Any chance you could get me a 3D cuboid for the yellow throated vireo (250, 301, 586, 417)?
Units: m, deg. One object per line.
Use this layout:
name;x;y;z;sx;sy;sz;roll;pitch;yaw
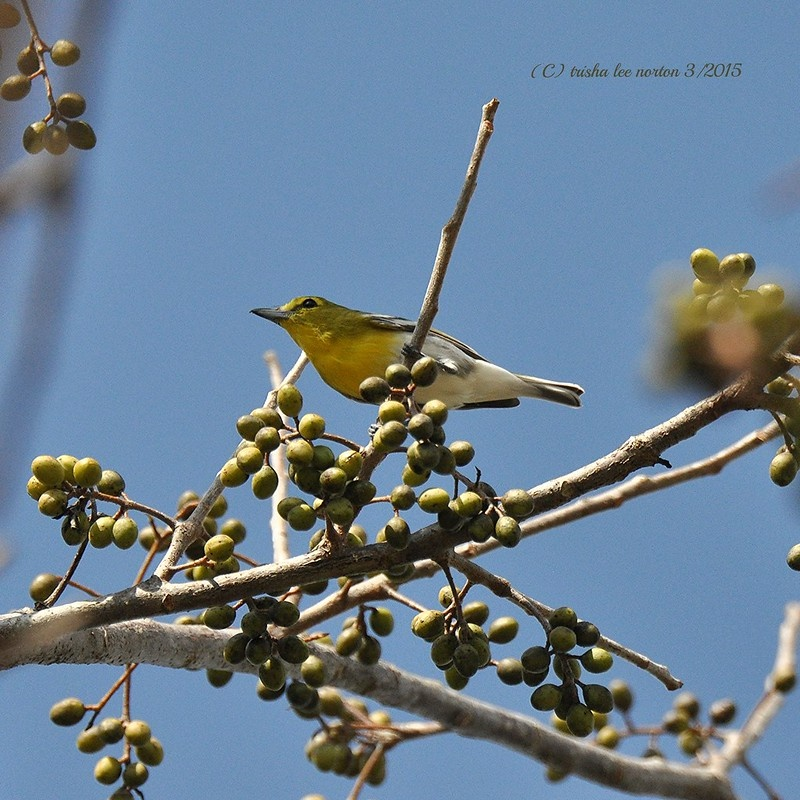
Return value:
yellow throated vireo;0.121;-0.213;8.851;1.650;0.586;0.790;4;-64;9
